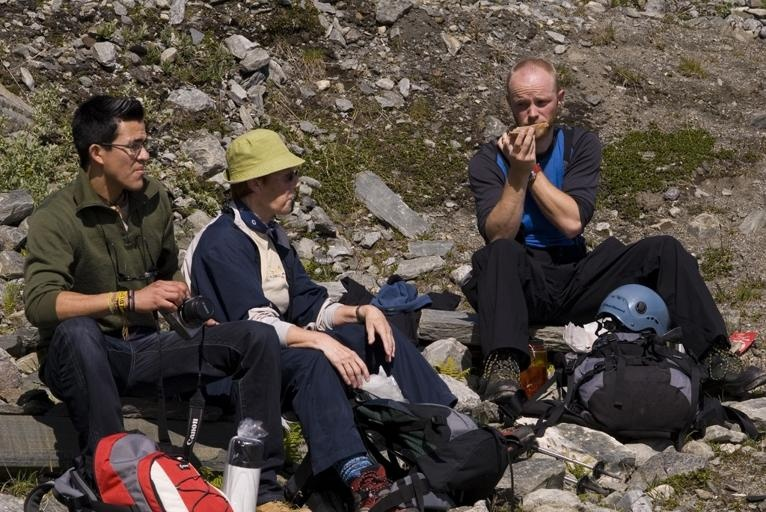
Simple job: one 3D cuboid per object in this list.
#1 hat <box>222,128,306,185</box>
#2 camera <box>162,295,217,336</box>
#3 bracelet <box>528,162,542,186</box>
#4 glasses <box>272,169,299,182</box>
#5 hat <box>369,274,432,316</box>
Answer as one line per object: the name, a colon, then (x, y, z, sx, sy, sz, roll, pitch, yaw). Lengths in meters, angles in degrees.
hat: (-1.317, -1.044, 9.650, 0.686, 0.315, 0.589, -15, 5, 17)
camera: (-1.960, 0.533, 8.963, 0.499, 0.241, 0.491, -6, -13, 17)
bracelet: (1.819, -1.000, 10.762, 0.127, 0.231, 0.172, 4, 6, -26)
glasses: (-1.066, -0.865, 9.625, 0.316, 0.135, 0.190, 4, 7, -19)
hat: (0.230, 0.528, 11.665, 0.545, 0.171, 0.559, 32, 50, 23)
